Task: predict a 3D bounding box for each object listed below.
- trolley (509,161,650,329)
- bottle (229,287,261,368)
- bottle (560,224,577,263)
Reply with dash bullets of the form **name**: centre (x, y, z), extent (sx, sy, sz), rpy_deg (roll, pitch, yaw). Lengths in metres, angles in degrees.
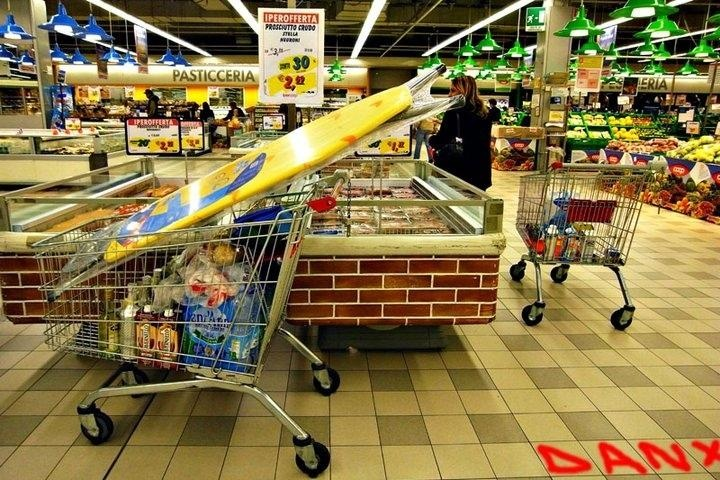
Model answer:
- **trolley**: centre (2.012, 0.011, 4.334), extent (1.073, 1.419, 0.844), rpy_deg (4, 20, 8)
- **bottle**: centre (-0.656, 0.494, 2.688), extent (0.266, 0.393, 0.105), rpy_deg (1, 11, -3)
- **bottle**: centre (1.888, 0.034, 4.243), extent (0.137, 0.305, 0.109), rpy_deg (-3, 20, -13)
